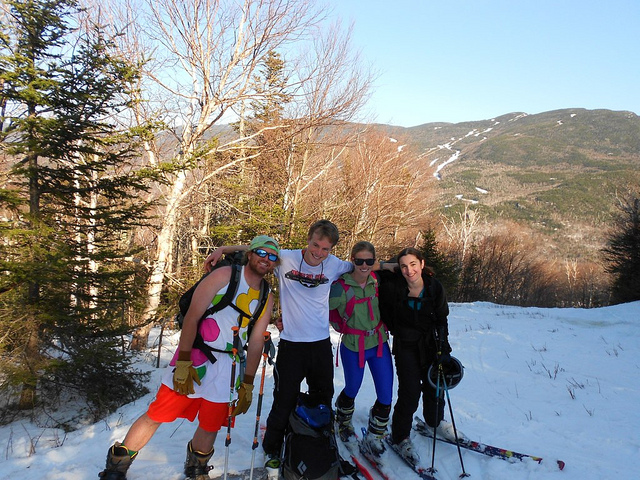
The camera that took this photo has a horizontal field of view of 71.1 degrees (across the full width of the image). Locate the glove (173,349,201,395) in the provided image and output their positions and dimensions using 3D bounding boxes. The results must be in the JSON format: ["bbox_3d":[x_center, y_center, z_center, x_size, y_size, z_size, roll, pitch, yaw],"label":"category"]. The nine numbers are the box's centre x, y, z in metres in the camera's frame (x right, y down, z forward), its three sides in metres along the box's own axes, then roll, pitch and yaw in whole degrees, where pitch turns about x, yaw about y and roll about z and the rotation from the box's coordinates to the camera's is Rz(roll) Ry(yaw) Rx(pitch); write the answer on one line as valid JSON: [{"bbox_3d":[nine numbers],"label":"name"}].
[{"bbox_3d":[-1.920,1.884,6.387,0.392,0.651,0.183,-4,14,-16],"label":"glove"}]

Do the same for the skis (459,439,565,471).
[{"bbox_3d":[3.453,3.812,7.920,1.361,0.182,0.154,9,29,13],"label":"skis"}]

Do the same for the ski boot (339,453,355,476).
[{"bbox_3d":[0.440,3.598,7.148,0.198,0.188,0.285,-4,13,-19],"label":"ski boot"}]

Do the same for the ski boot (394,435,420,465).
[{"bbox_3d":[1.510,3.609,7.677,0.186,0.506,0.232,-26,-25,-42],"label":"ski boot"}]
